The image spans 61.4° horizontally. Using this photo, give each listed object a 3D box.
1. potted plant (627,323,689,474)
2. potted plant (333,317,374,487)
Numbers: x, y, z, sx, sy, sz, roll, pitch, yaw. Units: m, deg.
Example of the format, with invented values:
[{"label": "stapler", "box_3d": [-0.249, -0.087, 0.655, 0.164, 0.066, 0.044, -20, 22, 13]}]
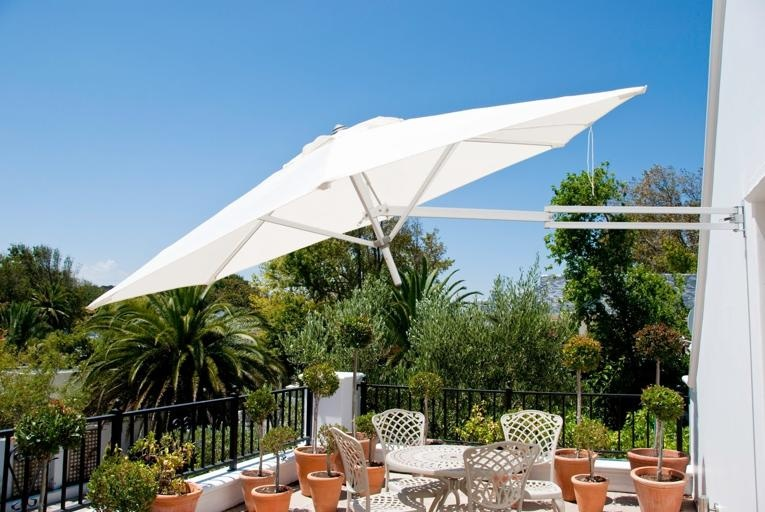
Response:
[{"label": "potted plant", "box_3d": [5.691, 3.000, 13.309, 0.890, 3.065, 0.915, 0, 5, 11]}, {"label": "potted plant", "box_3d": [-0.564, 2.430, 12.900, 0.648, 2.316, 0.741, -1, -1, -4]}]
